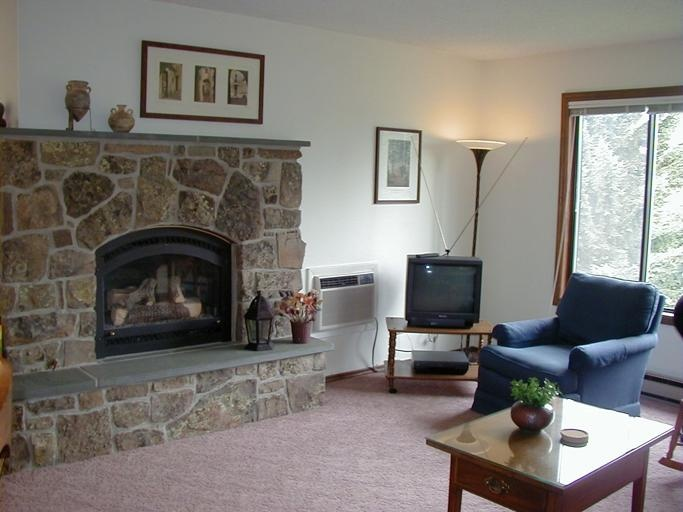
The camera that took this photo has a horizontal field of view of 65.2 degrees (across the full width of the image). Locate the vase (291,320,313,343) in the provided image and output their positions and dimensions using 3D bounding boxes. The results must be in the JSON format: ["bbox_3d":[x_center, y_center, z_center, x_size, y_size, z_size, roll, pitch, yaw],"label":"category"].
[{"bbox_3d":[-0.311,0.590,4.206,0.165,0.149,0.178,1,-2,0],"label":"vase"}]

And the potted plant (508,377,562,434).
[{"bbox_3d":[1.026,0.797,2.832,0.226,0.264,0.213,3,-6,3],"label":"potted plant"}]

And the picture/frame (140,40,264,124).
[{"bbox_3d":[-1.020,-1.287,4.030,0.922,0.530,0.031,-6,19,-34],"label":"picture/frame"}]

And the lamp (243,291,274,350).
[{"bbox_3d":[-0.624,0.485,4.068,0.215,0.417,0.216,7,12,28],"label":"lamp"}]

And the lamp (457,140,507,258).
[{"bbox_3d":[1.397,-0.570,5.415,0.420,1.210,0.664,5,11,17],"label":"lamp"}]

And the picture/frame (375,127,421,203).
[{"bbox_3d":[0.514,-0.877,5.029,0.723,0.834,0.062,-3,6,-39],"label":"picture/frame"}]

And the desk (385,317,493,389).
[{"bbox_3d":[0.717,0.833,4.877,0.743,0.461,0.711,1,0,1],"label":"desk"}]

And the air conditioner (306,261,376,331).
[{"bbox_3d":[-0.030,0.345,4.728,0.613,0.531,0.196,-3,4,-34],"label":"air conditioner"}]

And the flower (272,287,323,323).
[{"bbox_3d":[-0.336,0.407,4.292,0.319,0.259,0.264,-6,12,-36],"label":"flower"}]

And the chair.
[{"bbox_3d":[1.791,0.735,4.240,1.339,1.073,1.019,-6,8,-37],"label":"chair"}]
